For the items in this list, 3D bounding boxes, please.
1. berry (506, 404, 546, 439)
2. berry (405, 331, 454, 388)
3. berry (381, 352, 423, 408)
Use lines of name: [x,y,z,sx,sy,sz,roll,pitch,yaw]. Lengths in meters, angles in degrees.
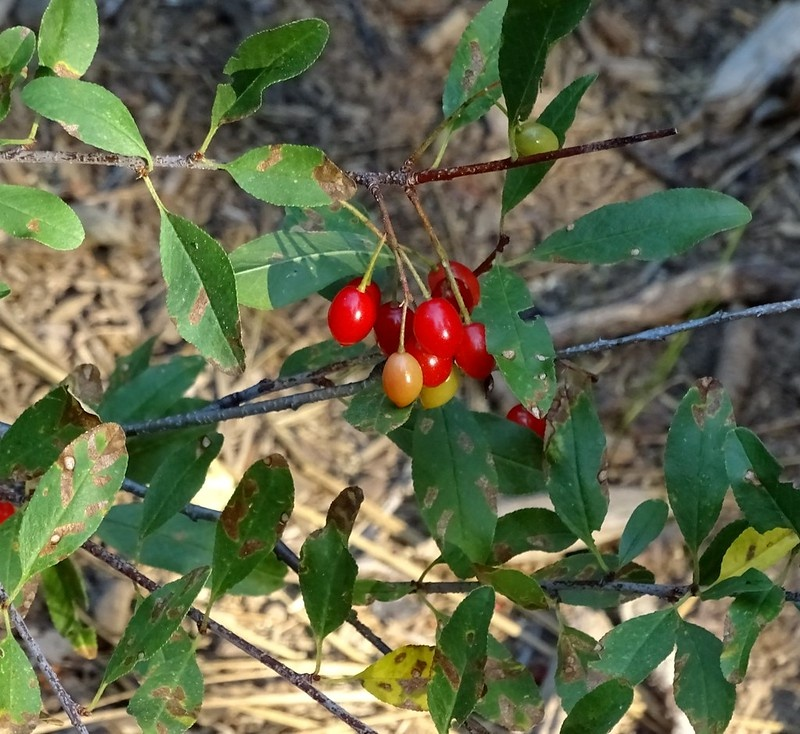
berry: [0.261,0.115,1.816,0.077,0.073,0.067,-25,-19,0]
berry: [0.056,-0.012,1.597,0.102,0.074,0.104,-16,-1,6]
berry: [0.005,0.022,1.501,0.088,0.080,0.073,-5,11,10]
